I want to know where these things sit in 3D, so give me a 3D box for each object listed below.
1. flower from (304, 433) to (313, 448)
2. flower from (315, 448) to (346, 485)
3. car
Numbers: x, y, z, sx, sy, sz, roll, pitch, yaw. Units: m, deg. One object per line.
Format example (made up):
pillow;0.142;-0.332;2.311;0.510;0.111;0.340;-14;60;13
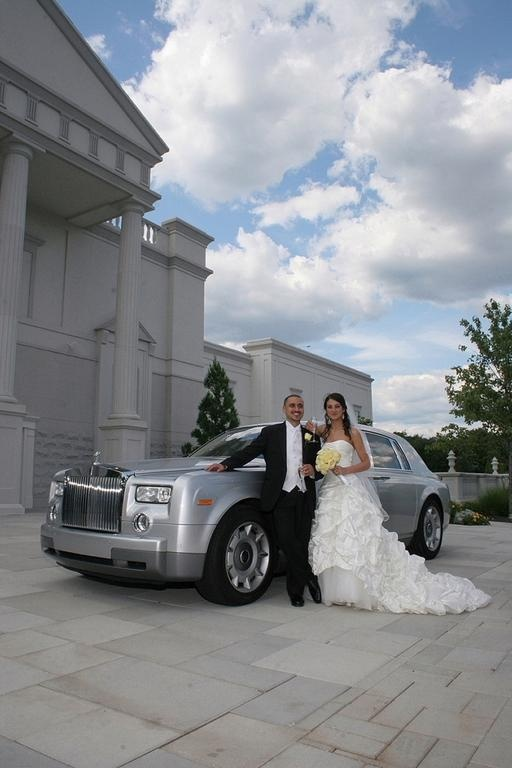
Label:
flower;0.468;0.487;4.573;0.078;0.081;0.078;-27;44;-31
flower;0.632;0.696;4.408;0.222;0.253;0.246;-1;-2;37
car;0.268;1.061;5.407;4.212;1.436;1.863;14;-18;-41
